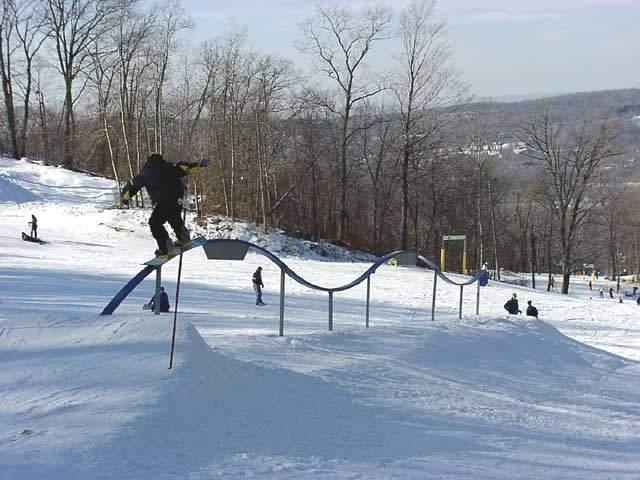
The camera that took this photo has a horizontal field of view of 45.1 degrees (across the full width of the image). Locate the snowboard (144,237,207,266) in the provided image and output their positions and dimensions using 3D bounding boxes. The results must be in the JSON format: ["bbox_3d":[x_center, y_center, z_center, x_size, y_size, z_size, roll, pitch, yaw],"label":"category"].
[{"bbox_3d":[-4.724,0.445,25.210,0.559,0.338,2.446,6,21,32],"label":"snowboard"}]
